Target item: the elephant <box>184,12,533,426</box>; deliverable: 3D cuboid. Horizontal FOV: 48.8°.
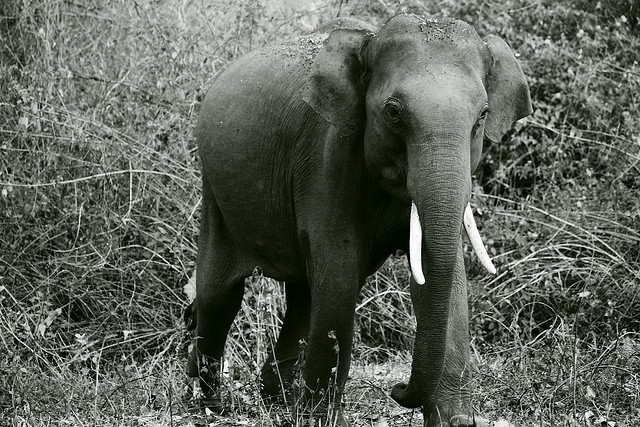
[{"bbox_3d":[0.112,-0.034,3.899,1.717,2.034,0.868,12,19,43],"label":"elephant"}]
